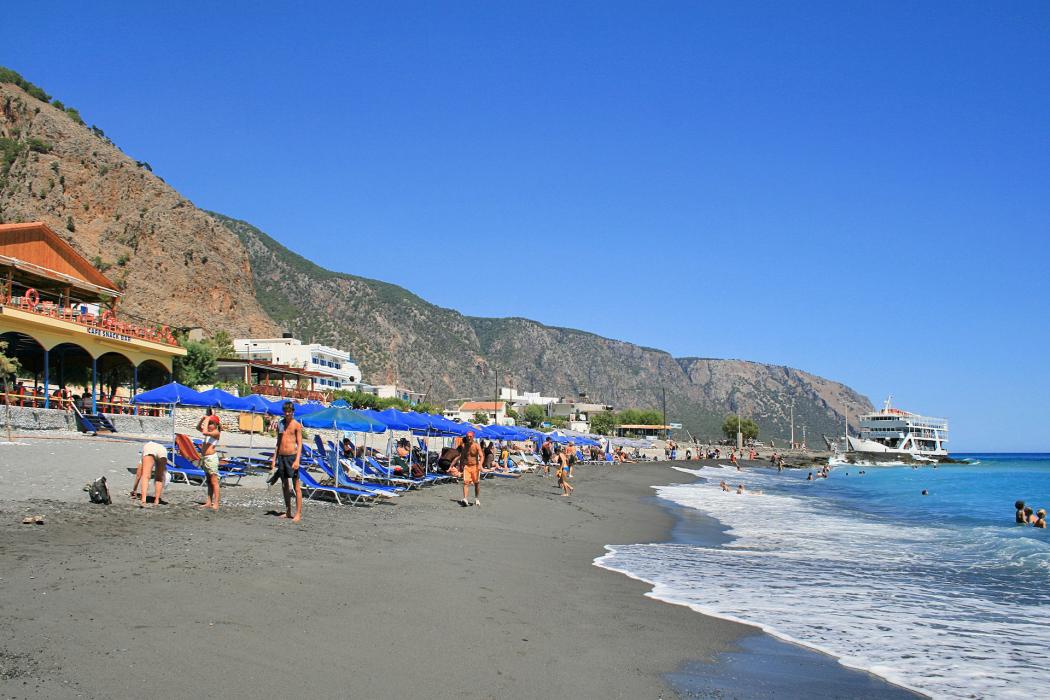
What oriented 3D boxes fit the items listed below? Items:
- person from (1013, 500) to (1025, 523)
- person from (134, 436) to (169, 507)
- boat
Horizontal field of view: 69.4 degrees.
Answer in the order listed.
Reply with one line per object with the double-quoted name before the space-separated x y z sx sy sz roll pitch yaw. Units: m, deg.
"person" 18.546 6.033 28.382 0.269 0.772 0.945 -5 -9 36
"person" -9.132 2.939 18.472 0.669 1.456 2.610 4 -8 -26
"boat" 62.321 13.661 129.318 11.764 10.397 24.403 -6 -10 42
